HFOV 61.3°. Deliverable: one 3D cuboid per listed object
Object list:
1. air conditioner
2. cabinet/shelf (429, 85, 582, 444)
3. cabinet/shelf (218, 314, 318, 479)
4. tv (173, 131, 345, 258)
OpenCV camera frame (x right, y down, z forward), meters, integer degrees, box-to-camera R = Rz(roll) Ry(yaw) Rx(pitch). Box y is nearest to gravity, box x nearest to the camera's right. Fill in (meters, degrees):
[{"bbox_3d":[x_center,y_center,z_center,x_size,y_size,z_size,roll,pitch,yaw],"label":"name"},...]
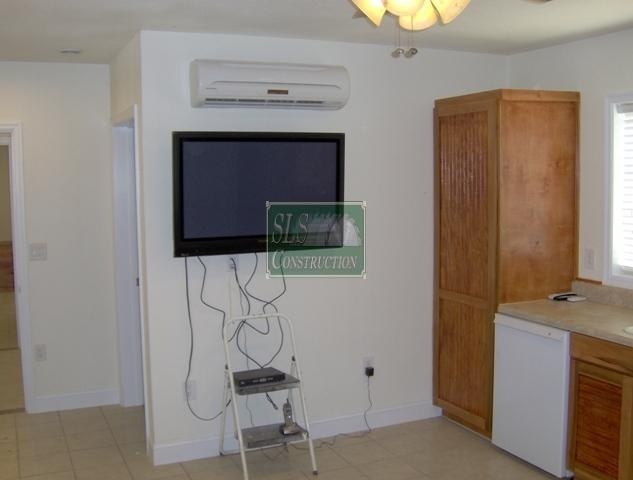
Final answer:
[{"bbox_3d":[-0.315,-1.122,3.848,1.126,0.296,0.202,-4,10,-19],"label":"air conditioner"},{"bbox_3d":[1.441,0.184,4.251,1.092,2.652,0.640,4,10,25],"label":"cabinet/shelf"},{"bbox_3d":[-0.356,1.117,3.928,0.734,1.154,0.704,-2,9,-11],"label":"cabinet/shelf"},{"bbox_3d":[-0.397,-0.349,3.936,1.279,0.928,0.109,-4,16,-17],"label":"tv"}]
